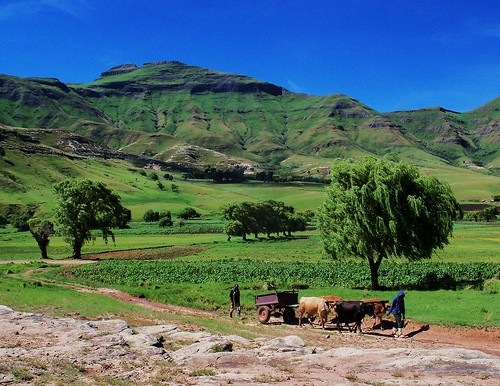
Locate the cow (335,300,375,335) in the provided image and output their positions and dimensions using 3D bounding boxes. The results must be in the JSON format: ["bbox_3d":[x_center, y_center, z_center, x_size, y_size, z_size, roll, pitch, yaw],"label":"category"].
[{"bbox_3d":[8.744,10.359,39.116,3.135,2.684,1.664,0,-6,19],"label":"cow"}]
